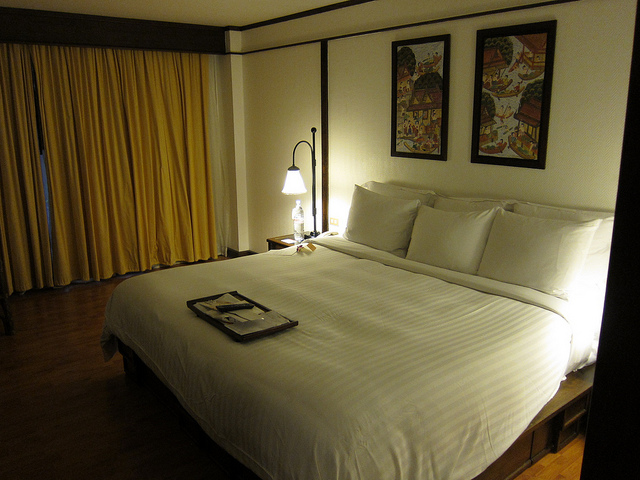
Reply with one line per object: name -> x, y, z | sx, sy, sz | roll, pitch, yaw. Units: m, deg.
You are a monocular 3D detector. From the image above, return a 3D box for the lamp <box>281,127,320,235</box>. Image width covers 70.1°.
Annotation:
lamp -> -0.172, -0.563, 4.568 | 0.427, 1.086, 0.272 | -1, 0, 26

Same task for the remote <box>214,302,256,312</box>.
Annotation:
remote -> -0.479, 0.377, 2.577 | 0.132, 0.028, 0.085 | -5, 12, -31

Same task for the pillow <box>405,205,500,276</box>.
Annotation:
pillow -> 0.914, -0.030, 3.275 | 0.237, 0.479, 0.645 | 8, 3, -38

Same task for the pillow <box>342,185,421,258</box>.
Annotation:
pillow -> 0.504, -0.159, 3.771 | 0.261, 0.480, 0.719 | -14, 26, -38

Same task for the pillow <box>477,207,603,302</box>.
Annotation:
pillow -> 1.320, 0.044, 2.869 | 0.307, 0.491, 0.630 | -5, 14, -36
